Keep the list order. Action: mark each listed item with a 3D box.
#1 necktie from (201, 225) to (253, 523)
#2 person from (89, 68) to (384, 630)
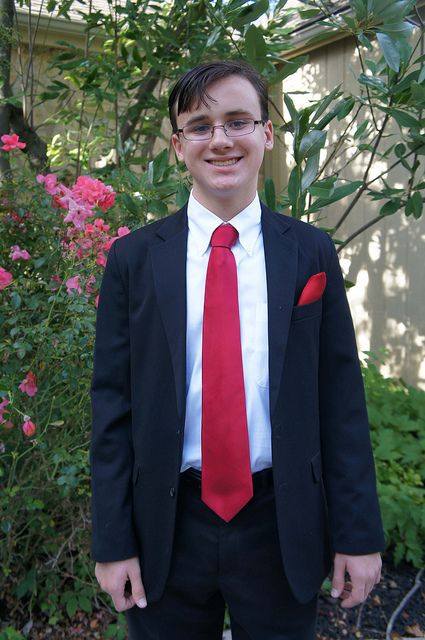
[{"bbox_3d":[0.026,0.103,1.115,0.098,0.590,0.182,-1,10,1],"label":"necktie"},{"bbox_3d":[0.037,0.094,1.184,0.610,1.281,0.374,-3,10,-10],"label":"person"}]
